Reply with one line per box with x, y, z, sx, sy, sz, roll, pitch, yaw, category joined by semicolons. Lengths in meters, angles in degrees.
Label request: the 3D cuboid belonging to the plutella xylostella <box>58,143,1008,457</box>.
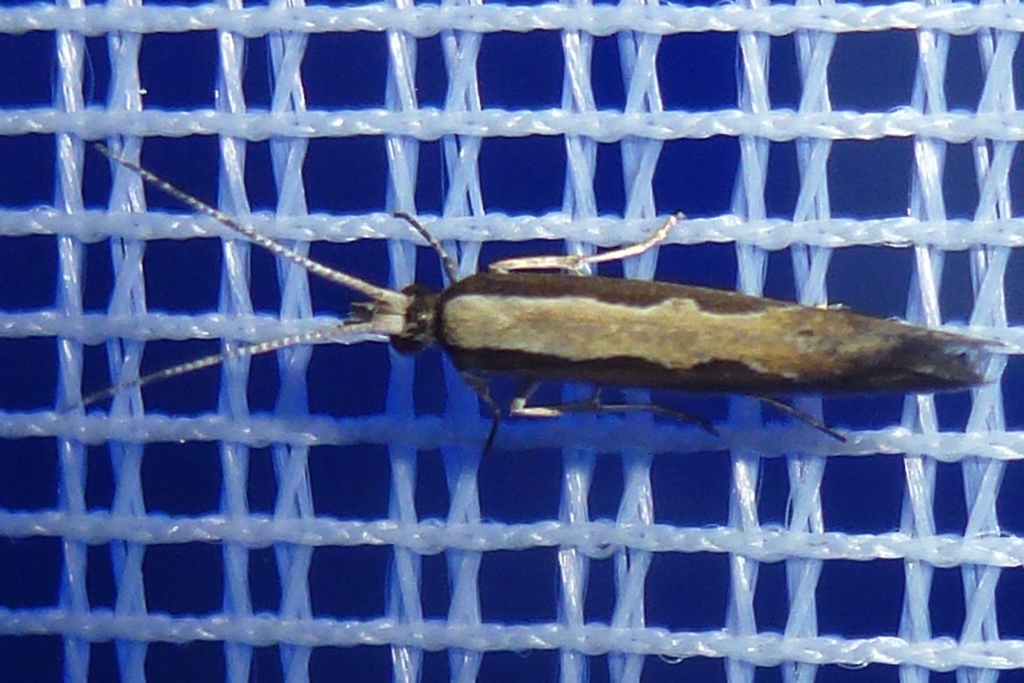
0.459;-0.030;10.365;2.958;0.290;0.798;4;-79;-1;plutella xylostella
